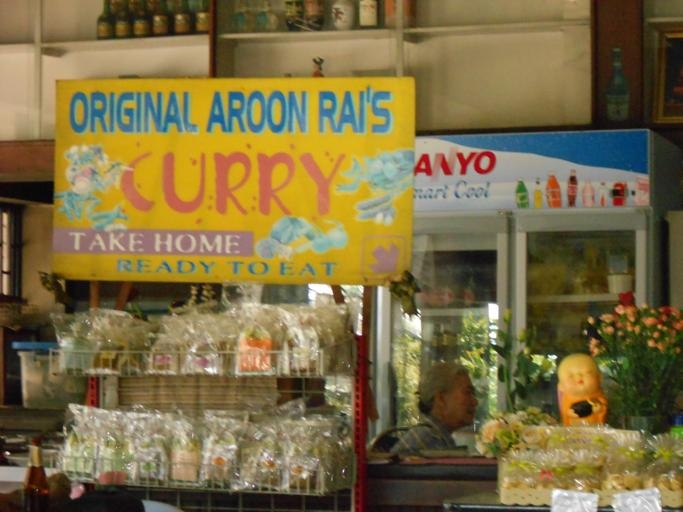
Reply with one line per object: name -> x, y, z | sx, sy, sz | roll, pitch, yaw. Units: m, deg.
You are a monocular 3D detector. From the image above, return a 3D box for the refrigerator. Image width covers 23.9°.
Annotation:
refrigerator -> 1.009, 0.118, 8.994 | 1.753, 2.343, 0.738 | 0, -2, 16

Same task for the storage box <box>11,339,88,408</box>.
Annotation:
storage box -> -1.792, 0.762, 9.754 | 0.632, 0.452, 0.523 | 1, -9, -3
